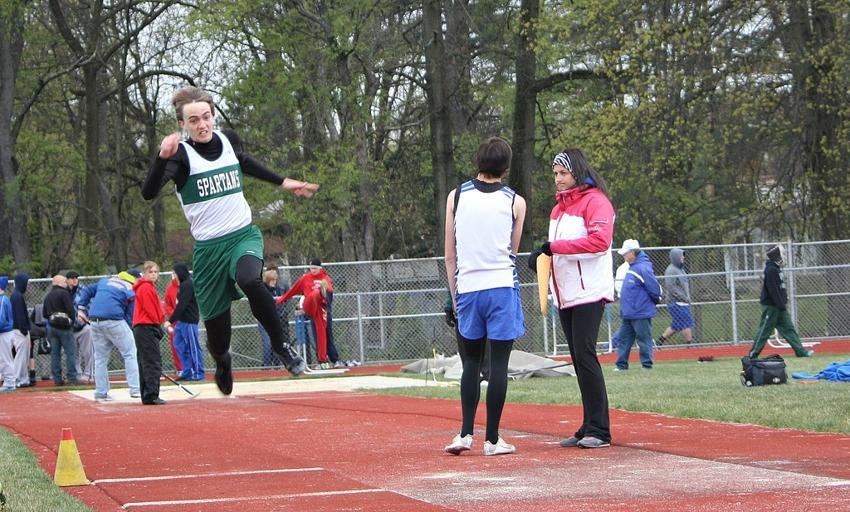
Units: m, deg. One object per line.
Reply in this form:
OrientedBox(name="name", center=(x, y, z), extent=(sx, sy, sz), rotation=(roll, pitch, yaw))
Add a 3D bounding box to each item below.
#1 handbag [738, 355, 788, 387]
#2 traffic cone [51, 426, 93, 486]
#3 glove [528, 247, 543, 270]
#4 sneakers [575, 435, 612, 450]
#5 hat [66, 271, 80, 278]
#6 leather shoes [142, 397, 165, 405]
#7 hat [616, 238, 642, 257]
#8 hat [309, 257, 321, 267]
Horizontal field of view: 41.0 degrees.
OrientedBox(name="handbag", center=(8.526, 2.822, 28.433), extent=(1.132, 0.788, 0.640), rotation=(-2, -9, -7))
OrientedBox(name="traffic cone", center=(-7.235, 4.029, 23.229), extent=(0.702, 1.154, 0.580), rotation=(-2, -5, -20))
OrientedBox(name="glove", center=(2.443, 0.005, 24.605), extent=(0.159, 0.485, 0.352), rotation=(8, -5, 1))
OrientedBox(name="sneakers", center=(3.544, 3.858, 23.936), extent=(0.682, 0.274, 0.249), rotation=(4, -4, -13))
OrientedBox(name="hat", center=(-10.906, 0.498, 35.196), extent=(0.269, 0.283, 0.335), rotation=(1, -14, -35))
OrientedBox(name="leather shoes", center=(-7.038, 3.708, 29.562), extent=(0.598, 0.218, 0.219), rotation=(-2, -3, -1))
OrientedBox(name="hat", center=(6.065, -0.314, 33.390), extent=(0.705, 0.373, 0.482), rotation=(-1, 0, -4))
OrientedBox(name="hat", center=(-3.441, 0.127, 35.707), extent=(0.322, 0.339, 0.438), rotation=(5, -10, 1))
